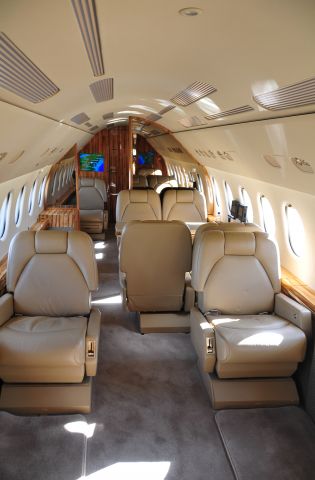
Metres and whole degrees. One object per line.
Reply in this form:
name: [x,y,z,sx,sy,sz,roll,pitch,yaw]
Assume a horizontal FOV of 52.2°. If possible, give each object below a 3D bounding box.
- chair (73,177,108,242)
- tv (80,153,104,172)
chair: [-1.707,-0.846,8.484,0.720,1.550,0.973,-1,10,-12]
tv: [-2.052,-2.403,10.018,0.781,0.574,0.179,-1,9,-12]
